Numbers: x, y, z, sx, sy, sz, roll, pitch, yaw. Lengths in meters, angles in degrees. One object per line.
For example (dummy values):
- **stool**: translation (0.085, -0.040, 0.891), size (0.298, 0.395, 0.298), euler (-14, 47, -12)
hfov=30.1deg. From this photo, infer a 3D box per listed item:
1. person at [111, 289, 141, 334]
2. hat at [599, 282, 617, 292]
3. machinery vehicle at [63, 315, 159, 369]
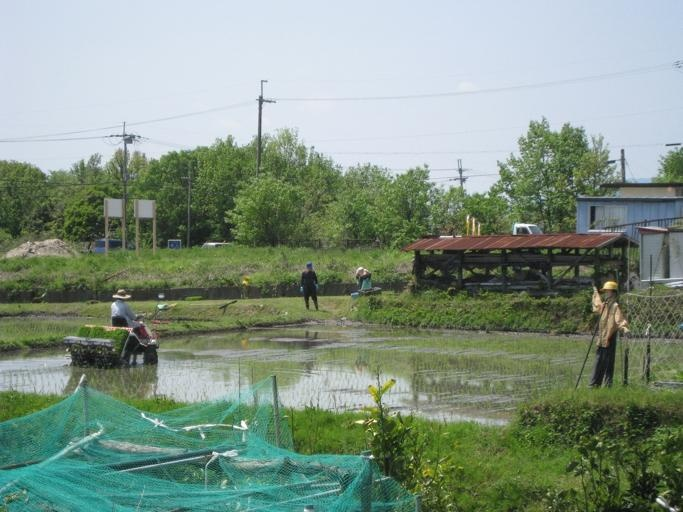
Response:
- **person**: translation (-7.686, 1.944, 45.855), size (1.037, 1.454, 1.084), euler (-5, 9, -11)
- **hat**: translation (8.883, 1.070, 42.399), size (0.447, 0.328, 0.588), euler (0, 4, 42)
- **machinery vehicle**: translation (-8.762, 3.308, 45.732), size (2.094, 1.149, 2.357), euler (5, -5, 20)
